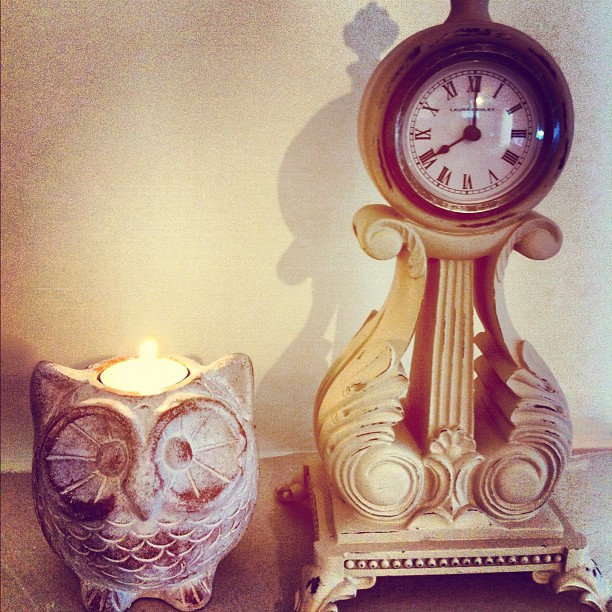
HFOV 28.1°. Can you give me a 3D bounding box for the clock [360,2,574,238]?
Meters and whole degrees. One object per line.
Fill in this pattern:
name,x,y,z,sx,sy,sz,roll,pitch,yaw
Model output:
clock,0.324,-0.362,2.494,0.423,0.338,0.327,3,-30,-2
